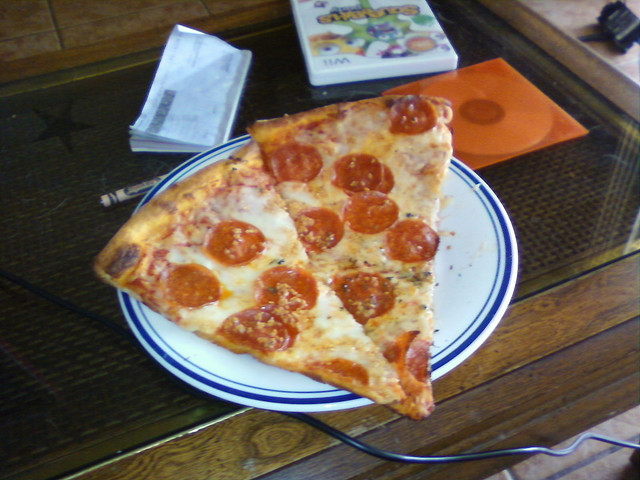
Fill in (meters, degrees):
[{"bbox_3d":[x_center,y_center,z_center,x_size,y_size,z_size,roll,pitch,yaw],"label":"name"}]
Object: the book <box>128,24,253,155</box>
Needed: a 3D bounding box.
[{"bbox_3d":[-0.295,-0.345,1.478,0.409,0.082,0.284,5,61,1],"label":"book"}]
